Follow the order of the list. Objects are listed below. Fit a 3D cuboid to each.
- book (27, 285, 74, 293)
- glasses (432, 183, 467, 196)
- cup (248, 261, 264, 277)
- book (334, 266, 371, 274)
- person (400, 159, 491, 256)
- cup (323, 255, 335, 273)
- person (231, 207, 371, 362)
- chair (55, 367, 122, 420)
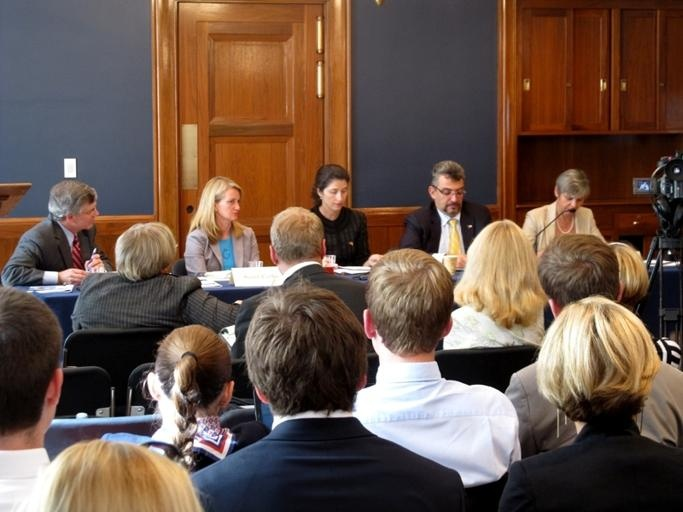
[{"bbox_3d":[-1.577,0.183,3.290,0.165,0.042,0.157,-1,0,-18],"label":"book"},{"bbox_3d":[0.779,-0.478,4.422,0.229,0.076,0.174,-1,8,5],"label":"glasses"},{"bbox_3d":[-0.514,0.079,3.668,0.083,0.094,0.082,1,6,0],"label":"cup"},{"bbox_3d":[0.065,0.089,3.776,0.124,0.032,0.124,-3,6,-35],"label":"book"},{"bbox_3d":[0.849,-0.257,4.456,0.756,0.834,0.566,-3,22,3],"label":"person"},{"bbox_3d":[-0.076,0.048,3.793,0.078,0.098,0.083,-1,-3,0],"label":"cup"},{"bbox_3d":[-0.166,0.073,2.405,0.462,1.031,0.341,-5,24,-7],"label":"person"},{"bbox_3d":[-0.949,0.495,2.220,0.194,0.200,0.127,-5,8,-26],"label":"chair"}]
